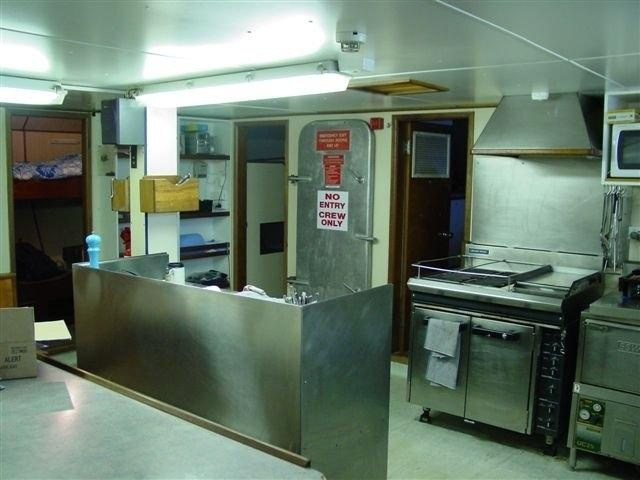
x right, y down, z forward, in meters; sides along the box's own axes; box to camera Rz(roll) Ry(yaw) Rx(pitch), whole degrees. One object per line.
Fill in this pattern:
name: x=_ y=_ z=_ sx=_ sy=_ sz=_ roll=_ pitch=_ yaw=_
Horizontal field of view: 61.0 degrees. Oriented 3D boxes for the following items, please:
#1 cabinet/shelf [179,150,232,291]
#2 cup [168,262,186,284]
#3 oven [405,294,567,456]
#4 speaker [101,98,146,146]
cabinet/shelf: x=-1.435 y=-0.256 z=6.800 sx=0.600 sy=1.637 sz=0.796 roll=5 pitch=16 yaw=23
cup: x=-1.132 y=0.261 z=4.310 sx=0.138 sy=0.193 sz=0.149 roll=2 pitch=10 yaw=0
oven: x=1.435 y=1.037 z=4.441 sx=1.251 sy=1.066 sz=0.838 roll=4 pitch=-1 yaw=43
speaker: x=-1.703 y=-0.958 z=4.876 sx=0.392 sy=0.509 sz=0.527 roll=-2 pitch=7 yaw=-31
